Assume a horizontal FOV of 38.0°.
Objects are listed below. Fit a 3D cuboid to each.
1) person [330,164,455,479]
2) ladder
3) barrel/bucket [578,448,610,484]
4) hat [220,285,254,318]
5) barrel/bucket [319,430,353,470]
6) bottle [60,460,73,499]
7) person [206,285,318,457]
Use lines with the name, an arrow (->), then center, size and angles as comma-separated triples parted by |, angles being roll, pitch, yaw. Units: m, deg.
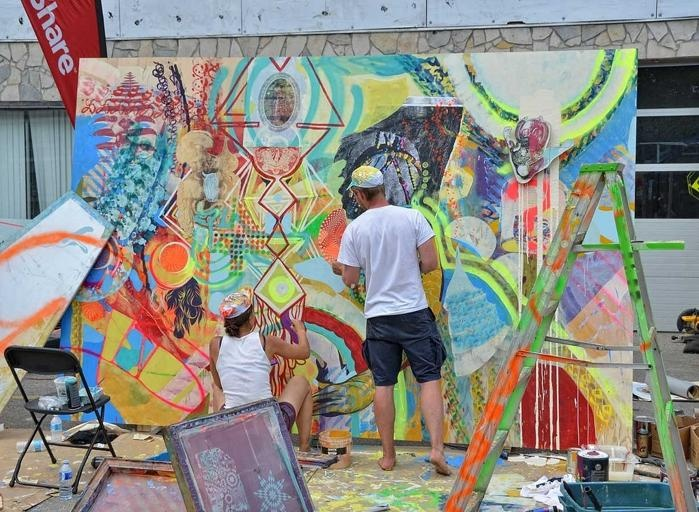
person -> 0.416, 0.583, 9.164 | 0.969, 2.774, 0.454 | -1, 2, 0
ladder -> 1.725, 0.667, 7.898 | 1.802, 2.764, 0.452 | 0, 2, 7
barrel/bucket -> 2.070, 1.771, 8.639 | 0.232, 0.290, 0.275 | -1, 10, 7
hat -> -1.014, 0.444, 9.063 | 0.272, 0.220, 0.189 | -1, 2, -12
barrel/bucket -> -0.116, 1.745, 9.340 | 0.262, 0.316, 0.285 | -1, 4, 0
bottle -> -2.485, 1.948, 8.887 | 0.110, 0.288, 0.254 | -1, 2, -16
person -> -0.783, 1.122, 9.402 | 0.840, 1.636, 0.860 | -6, 0, 4
